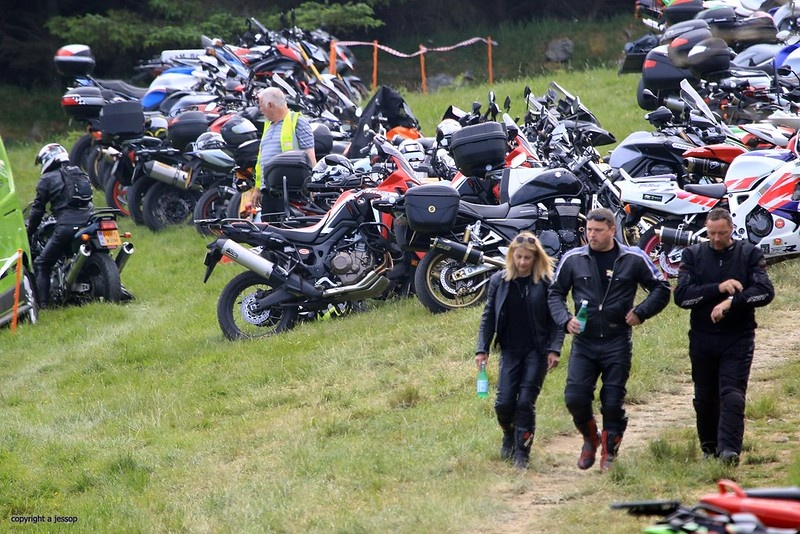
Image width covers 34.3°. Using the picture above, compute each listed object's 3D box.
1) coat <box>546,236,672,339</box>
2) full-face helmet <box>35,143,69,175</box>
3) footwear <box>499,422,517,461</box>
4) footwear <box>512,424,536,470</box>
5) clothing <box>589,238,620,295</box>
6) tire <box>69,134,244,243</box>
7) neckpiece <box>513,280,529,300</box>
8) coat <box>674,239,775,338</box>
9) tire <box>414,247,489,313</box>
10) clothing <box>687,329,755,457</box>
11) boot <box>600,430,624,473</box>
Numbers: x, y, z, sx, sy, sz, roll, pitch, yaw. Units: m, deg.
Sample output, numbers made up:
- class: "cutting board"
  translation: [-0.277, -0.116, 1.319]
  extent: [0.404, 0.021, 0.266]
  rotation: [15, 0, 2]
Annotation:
- class: "coat"
  translation: [2.952, 0.286, 18.094]
  extent: [1.705, 1.424, 0.786]
  rotation: [2, 10, 13]
- class: "full-face helmet"
  translation: [-6.491, -2.037, 24.114]
  extent: [0.672, 0.552, 0.505]
  rotation: [1, 4, 37]
- class: "footwear"
  translation: [1.512, 2.436, 18.120]
  extent: [0.203, 0.465, 0.470]
  rotation: [-1, 8, 13]
- class: "footwear"
  translation: [1.691, 2.471, 17.985]
  extent: [0.474, 0.691, 0.355]
  rotation: [-2, 5, -5]
- class: "clothing"
  translation: [2.843, 0.033, 17.905]
  extent: [0.437, 0.624, 0.567]
  rotation: [-2, -11, -7]
- class: "tire"
  translation: [-4.844, -1.731, 26.839]
  extent: [3.082, 2.029, 1.603]
  rotation: [-2, 15, 1]
- class: "neckpiece"
  translation: [1.683, 0.295, 18.120]
  extent: [0.200, 0.207, 0.060]
  rotation: [-12, -13, 17]
- class: "coat"
  translation: [4.496, 0.266, 17.873]
  extent: [1.297, 1.326, 0.785]
  rotation: [-2, 1, 29]
- class: "tire"
  translation: [0.841, 0.258, 21.806]
  extent: [1.147, 1.124, 1.112]
  rotation: [-10, 8, -30]
- class: "clothing"
  translation: [4.412, 1.696, 17.634]
  extent: [0.845, 1.653, 0.647]
  rotation: [-3, 9, 12]
- class: "boot"
  translation: [2.890, 2.475, 17.871]
  extent: [0.284, 0.524, 0.481]
  rotation: [-1, 10, 28]
